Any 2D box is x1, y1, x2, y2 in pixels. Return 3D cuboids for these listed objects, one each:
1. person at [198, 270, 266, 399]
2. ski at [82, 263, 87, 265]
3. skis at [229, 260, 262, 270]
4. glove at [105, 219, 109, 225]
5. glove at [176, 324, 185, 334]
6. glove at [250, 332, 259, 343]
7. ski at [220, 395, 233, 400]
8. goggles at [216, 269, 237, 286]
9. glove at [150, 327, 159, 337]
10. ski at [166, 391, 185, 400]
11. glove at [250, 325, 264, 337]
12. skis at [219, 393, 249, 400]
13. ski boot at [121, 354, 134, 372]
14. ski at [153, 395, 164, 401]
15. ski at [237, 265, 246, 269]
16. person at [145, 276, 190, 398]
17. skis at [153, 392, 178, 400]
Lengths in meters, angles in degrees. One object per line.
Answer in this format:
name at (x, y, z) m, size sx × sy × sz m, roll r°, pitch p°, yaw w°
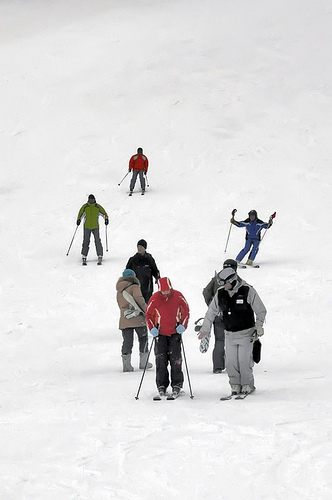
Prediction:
person at (0.790, 0.953, 8.078) m, size 0.723 × 1.412 × 0.583 m, roll -5°, pitch -6°, yaw 19°
ski at (-2.057, 0.354, 17.685) m, size 0.120 × 0.042 × 0.079 m, roll -5°, pitch 6°, yaw 6°
skis at (1.646, 0.312, 14.404) m, size 0.209 × 0.140 × 0.870 m, roll 10°, pitch 5°, yaw -16°
glove at (-1.462, -0.678, 17.229) m, size 0.082 × 0.107 × 0.107 m, roll -1°, pitch 8°, yaw 2°
glove at (0.166, 0.908, 8.134) m, size 0.067 × 0.061 × 0.086 m, roll -39°, pitch -6°, yaw -20°
glove at (1.011, 1.001, 8.043) m, size 0.086 × 0.099 × 0.041 m, roll -4°, pitch -15°, yaw 17°
ski at (0.672, 1.644, 7.867) m, size 0.010 × 0.069 × 0.237 m, roll -16°, pitch 1°, yaw -22°
goggles at (0.682, 0.321, 7.937) m, size 0.175 × 0.062 × 0.145 m, roll -37°, pitch 40°, yaw -20°
glove at (-0.134, 0.950, 8.143) m, size 0.100 × 0.125 × 0.149 m, roll -6°, pitch 6°, yaw -1°
ski at (0.106, 1.636, 7.945) m, size 0.219 × 0.077 × 0.057 m, roll -24°, pitch 32°, yaw 20°
glove at (1.018, 0.907, 7.899) m, size 0.139 × 0.136 × 0.054 m, roll -2°, pitch 7°, yaw 44°
skis at (0.788, 1.607, 7.850) m, size 0.095 × 0.018 × 0.348 m, roll 0°, pitch -2°, yaw 36°
ski boot at (-0.533, 1.549, 9.739) m, size 0.145 × 0.271 × 0.159 m, roll -6°, pitch 6°, yaw -2°
ski at (-0.085, 1.654, 7.909) m, size 0.097 × 0.037 × 0.034 m, roll 2°, pitch 5°, yaw 6°
ski at (1.746, 0.390, 16.275) m, size 0.224 × 0.051 × 0.228 m, roll -1°, pitch 4°, yaw -28°
person at (-0.002, 1.064, 8.181) m, size 0.431 × 1.144 × 0.631 m, roll -4°, pitch 6°, yaw 22°
skis at (-0.002, 1.646, 7.966) m, size 0.226 × 0.057 × 0.247 m, roll -3°, pitch 6°, yaw 18°
